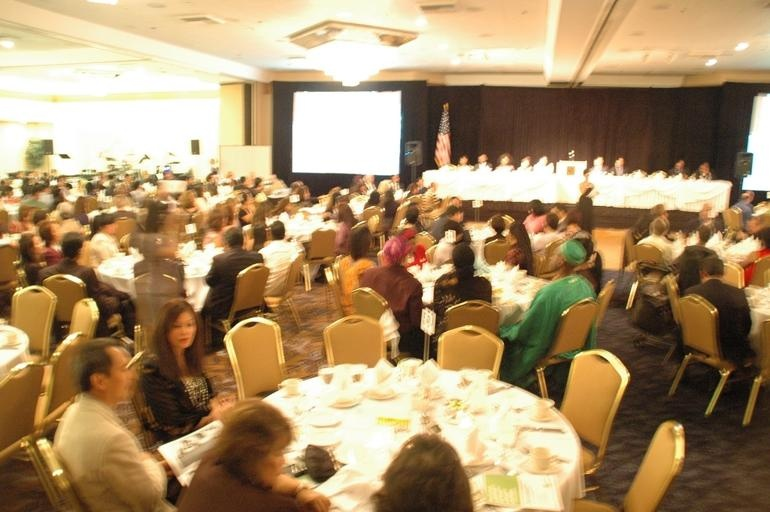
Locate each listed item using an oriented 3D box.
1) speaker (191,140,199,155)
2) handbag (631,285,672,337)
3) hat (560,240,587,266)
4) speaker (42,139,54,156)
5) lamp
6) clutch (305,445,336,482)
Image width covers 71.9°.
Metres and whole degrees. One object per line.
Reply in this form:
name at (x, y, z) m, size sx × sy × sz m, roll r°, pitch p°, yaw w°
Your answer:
speaker at (-7.605, -4.385, 21.144) m, size 0.320 × 0.604 × 0.280 m, roll -2°, pitch 9°, yaw -17°
handbag at (3.558, 0.677, 7.148) m, size 0.541 × 0.749 × 0.770 m, roll 1°, pitch 8°, yaw 18°
hat at (1.972, -0.017, 5.592) m, size 0.233 × 0.265 × 0.144 m, roll -25°, pitch -1°, yaw 0°
speaker at (-14.103, -4.579, 22.115) m, size 0.353 × 0.622 × 1.087 m, roll -5°, pitch 10°, yaw -32°
lamp at (-0.836, -4.588, 11.447) m, size 1.672 × 0.826 × 2.052 m, roll 8°, pitch 15°, yaw 31°
clutch at (-0.424, 1.337, 3.425) m, size 0.188 × 0.141 × 0.261 m, roll -4°, pitch 10°, yaw -29°
